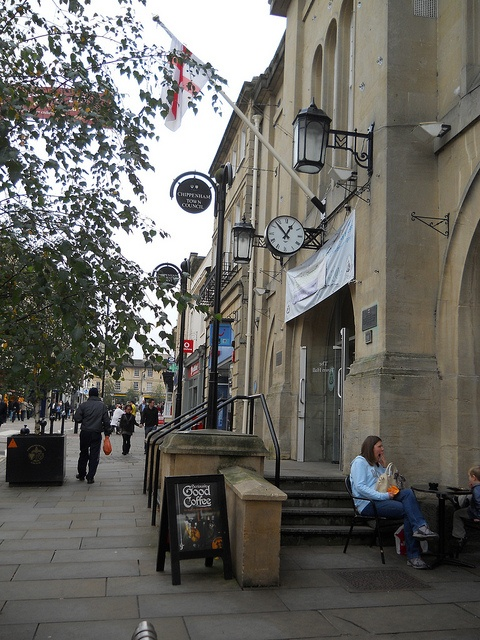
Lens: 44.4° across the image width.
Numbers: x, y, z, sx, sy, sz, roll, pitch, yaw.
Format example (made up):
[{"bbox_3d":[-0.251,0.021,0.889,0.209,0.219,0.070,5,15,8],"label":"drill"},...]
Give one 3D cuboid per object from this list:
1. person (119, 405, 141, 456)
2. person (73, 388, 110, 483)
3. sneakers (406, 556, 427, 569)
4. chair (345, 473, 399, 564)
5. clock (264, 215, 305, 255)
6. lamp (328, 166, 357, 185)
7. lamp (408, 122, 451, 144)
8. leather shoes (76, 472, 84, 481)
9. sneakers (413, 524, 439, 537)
[{"bbox_3d":[-3.705,3.575,19.372,0.530,1.599,2.546,2,-10,-11],"label":"person"},{"bbox_3d":[-2.850,2.202,11.287,0.654,1.744,1.507,3,-10,-13],"label":"person"},{"bbox_3d":[1.704,2.337,5.663,0.074,0.084,0.207,3,-15,-14],"label":"sneakers"},{"bbox_3d":[1.358,2.073,6.369,0.501,0.670,0.490,1,4,-19],"label":"chair"},{"bbox_3d":[0.889,-1.643,11.613,0.785,0.789,0.373,0,-10,3],"label":"clock"},{"bbox_3d":[1.602,-2.223,9.084,0.316,0.166,0.250,1,0,-1],"label":"lamp"},{"bbox_3d":[2.522,-2.462,7.736,0.435,0.223,0.313,2,-10,-9],"label":"lamp"},{"bbox_3d":[-3.085,3.001,11.294,0.094,0.127,0.278,2,-15,-14],"label":"leather shoes"},{"bbox_3d":[1.739,1.976,5.508,0.251,0.184,0.092,-8,-33,22],"label":"sneakers"}]
